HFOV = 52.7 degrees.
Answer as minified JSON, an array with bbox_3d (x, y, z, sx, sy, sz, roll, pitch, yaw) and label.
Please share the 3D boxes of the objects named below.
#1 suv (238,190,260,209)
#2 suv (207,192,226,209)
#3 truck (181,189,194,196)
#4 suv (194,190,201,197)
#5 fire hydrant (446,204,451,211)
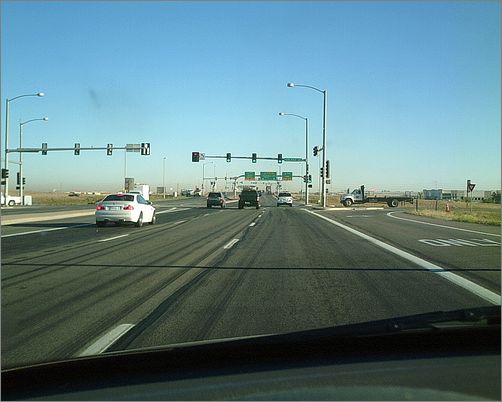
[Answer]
[{"bbox_3d":[-0.176,-0.152,46.036,1.809,1.668,2.900,0,2,-4],"label":"suv"},{"bbox_3d":[-3.264,-0.063,46.551,1.904,1.417,1.266,0,2,-26],"label":"suv"},{"bbox_3d":[-16.101,-2.077,127.532,2.356,1.213,1.664,2,2,17],"label":"truck"},{"bbox_3d":[-13.178,-1.904,123.278,1.467,1.615,6.794,0,2,-10],"label":"suv"},{"bbox_3d":[19.994,0.650,51.302,0.573,0.617,0.522,-6,8,-44],"label":"fire hydrant"}]
